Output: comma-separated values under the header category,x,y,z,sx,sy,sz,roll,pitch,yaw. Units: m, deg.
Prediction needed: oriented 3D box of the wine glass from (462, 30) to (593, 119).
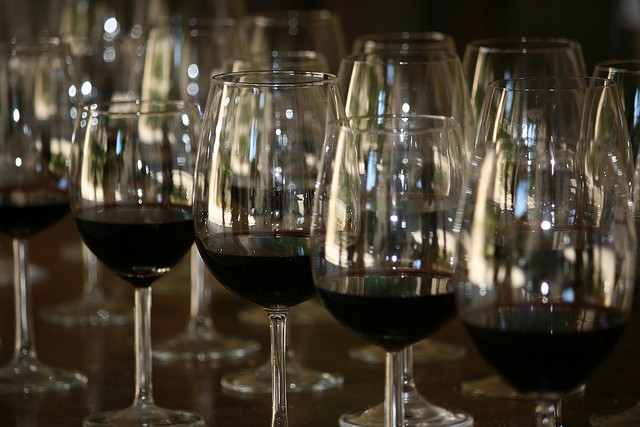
category,x,y,z,sx,sy,sz,roll,pitch,yaw
wine glass,0.271,-0.179,1.001,0.174,0.092,0.170,-2,7,4

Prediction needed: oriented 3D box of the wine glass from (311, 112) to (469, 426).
category,x,y,z,sx,sy,sz,roll,pitch,yaw
wine glass,0.061,0.045,0.650,0.127,0.259,0.100,2,14,13

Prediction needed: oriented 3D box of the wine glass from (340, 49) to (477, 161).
category,x,y,z,sx,sy,sz,roll,pitch,yaw
wine glass,0.120,-0.119,0.899,0.155,0.138,0.150,3,-9,-26

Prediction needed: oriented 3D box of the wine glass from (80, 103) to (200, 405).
category,x,y,z,sx,sy,sz,roll,pitch,yaw
wine glass,-0.184,0.044,0.803,0.135,0.308,0.091,-7,15,-22
